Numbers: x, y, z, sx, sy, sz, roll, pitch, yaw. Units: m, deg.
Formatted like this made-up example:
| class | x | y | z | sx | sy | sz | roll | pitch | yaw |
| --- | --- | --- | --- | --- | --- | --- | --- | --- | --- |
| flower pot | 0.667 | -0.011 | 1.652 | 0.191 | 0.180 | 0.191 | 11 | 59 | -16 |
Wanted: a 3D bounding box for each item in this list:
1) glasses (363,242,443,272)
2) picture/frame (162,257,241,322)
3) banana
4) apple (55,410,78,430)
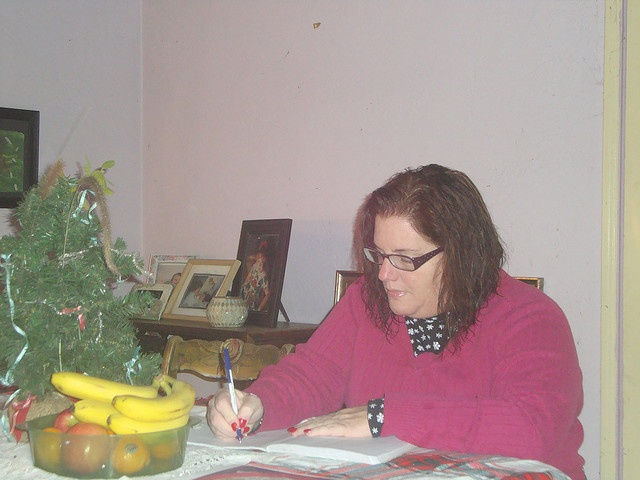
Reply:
| class | x | y | z | sx | sy | sz | roll | pitch | yaw |
| --- | --- | --- | --- | --- | --- | --- | --- | --- | --- |
| glasses | 0.209 | 0.047 | 1.600 | 0.244 | 0.068 | 0.088 | 4 | 5 | 34 |
| picture/frame | -0.564 | 0.242 | 2.756 | 0.311 | 0.268 | 0.041 | 4 | -30 | 45 |
| banana | -0.398 | 0.323 | 1.142 | 0.198 | 0.075 | 0.149 | 11 | -1 | -24 |
| apple | -0.522 | 0.370 | 1.170 | 0.036 | 0.045 | 0.037 | 10 | 2 | -4 |
